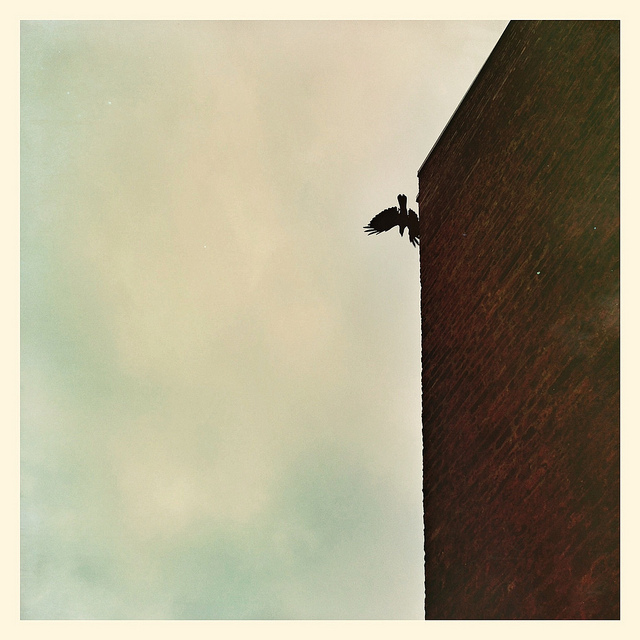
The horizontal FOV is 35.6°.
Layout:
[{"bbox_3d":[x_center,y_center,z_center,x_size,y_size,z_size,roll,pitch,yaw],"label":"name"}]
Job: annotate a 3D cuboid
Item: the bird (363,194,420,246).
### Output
[{"bbox_3d":[0.189,-0.263,2.538,0.136,0.084,0.068,6,-38,-8],"label":"bird"}]
